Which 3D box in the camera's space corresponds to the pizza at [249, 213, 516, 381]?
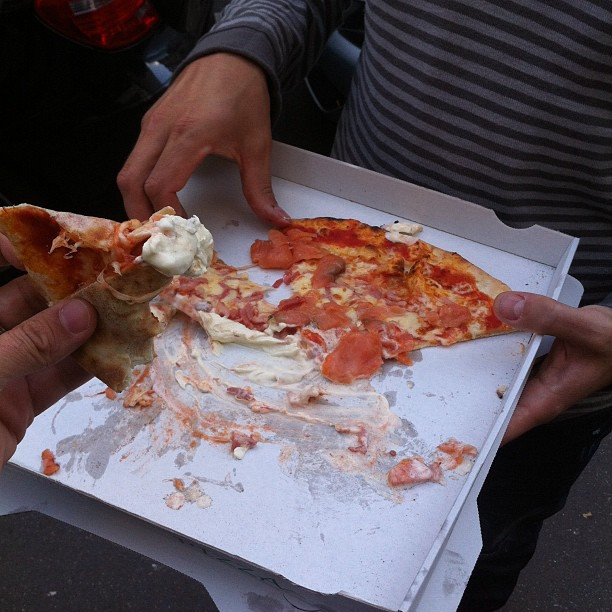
[{"bbox_3d":[0.183,-0.082,1.803,0.623,0.208,0.597,-23,71,-9],"label":"pizza"}]
